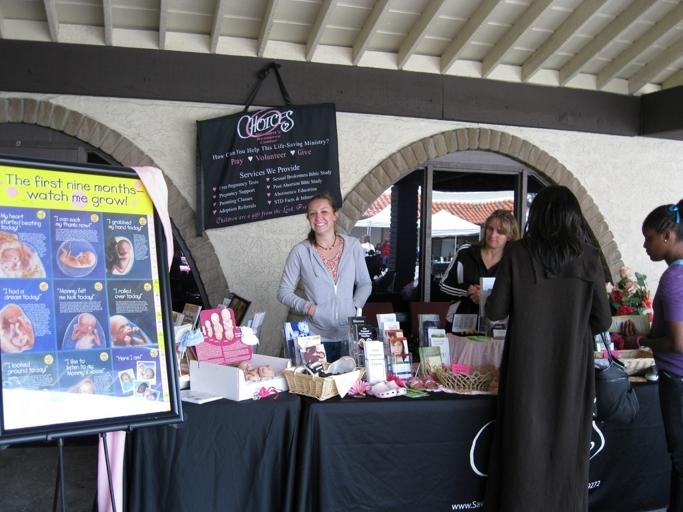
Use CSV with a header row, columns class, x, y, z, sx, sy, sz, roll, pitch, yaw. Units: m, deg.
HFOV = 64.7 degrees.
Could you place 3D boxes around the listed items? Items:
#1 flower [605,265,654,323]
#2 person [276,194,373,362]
class,x,y,z,sx,sy,sz,roll,pitch,yaw
flower,2.135,0.264,3.950,0.253,0.291,0.278,0,1,12
person,-0.099,0.072,3.324,0.567,0.877,0.240,-1,-3,-3
